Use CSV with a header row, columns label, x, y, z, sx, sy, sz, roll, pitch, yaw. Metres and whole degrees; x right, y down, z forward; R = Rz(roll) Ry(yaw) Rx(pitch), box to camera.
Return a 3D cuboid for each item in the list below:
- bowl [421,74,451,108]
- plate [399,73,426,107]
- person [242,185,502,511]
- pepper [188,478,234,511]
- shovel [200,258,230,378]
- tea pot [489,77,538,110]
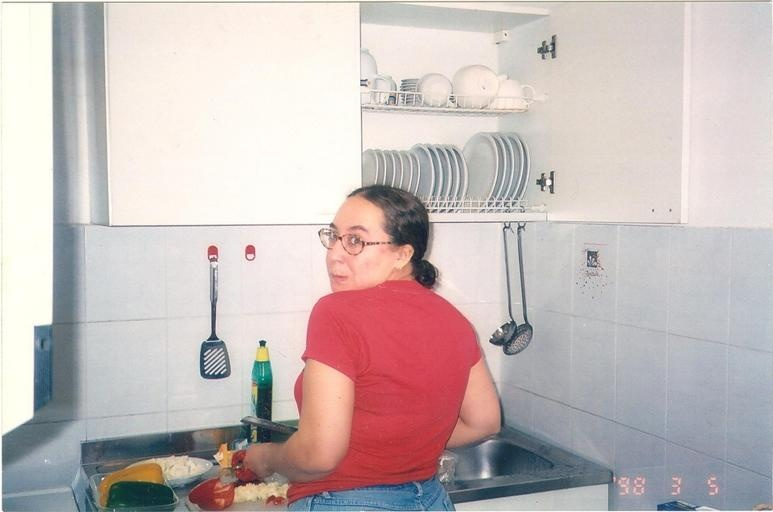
label,x,y,z,sx,sy,sz,roll,pitch,yaw
bowl,0.172,-0.582,2.545,0.102,0.115,0.082,1,-3,3
plate,0.085,-0.590,2.530,0.097,0.097,0.100,4,7,31
person,-0.001,0.255,1.908,0.666,0.887,0.309,-3,3,-23
pepper,-0.540,0.748,2.213,0.095,0.037,0.100,2,11,1
shovel,-0.630,0.238,2.585,0.113,0.441,0.047,-3,3,-14
tea pot,0.450,-0.578,2.568,0.167,0.090,0.108,-1,6,-13
